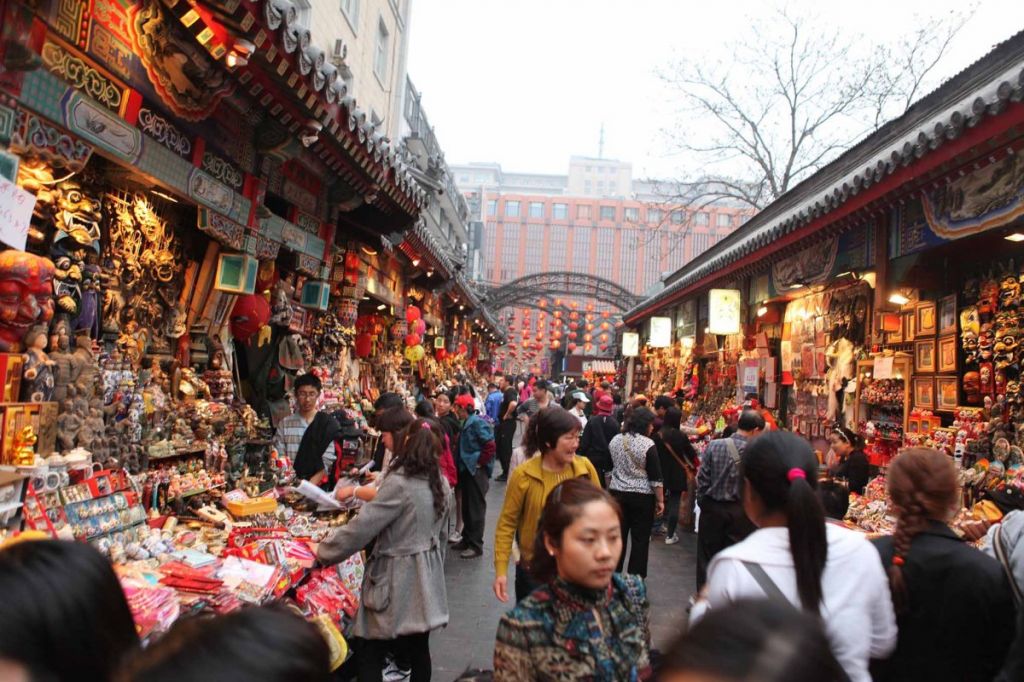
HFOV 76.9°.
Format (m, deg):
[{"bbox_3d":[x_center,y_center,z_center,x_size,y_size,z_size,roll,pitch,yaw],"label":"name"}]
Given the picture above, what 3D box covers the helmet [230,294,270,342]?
[{"bbox_3d":[-2.883,-0.275,7.039,0.364,0.466,0.419,8,-11,-24],"label":"helmet"}]
